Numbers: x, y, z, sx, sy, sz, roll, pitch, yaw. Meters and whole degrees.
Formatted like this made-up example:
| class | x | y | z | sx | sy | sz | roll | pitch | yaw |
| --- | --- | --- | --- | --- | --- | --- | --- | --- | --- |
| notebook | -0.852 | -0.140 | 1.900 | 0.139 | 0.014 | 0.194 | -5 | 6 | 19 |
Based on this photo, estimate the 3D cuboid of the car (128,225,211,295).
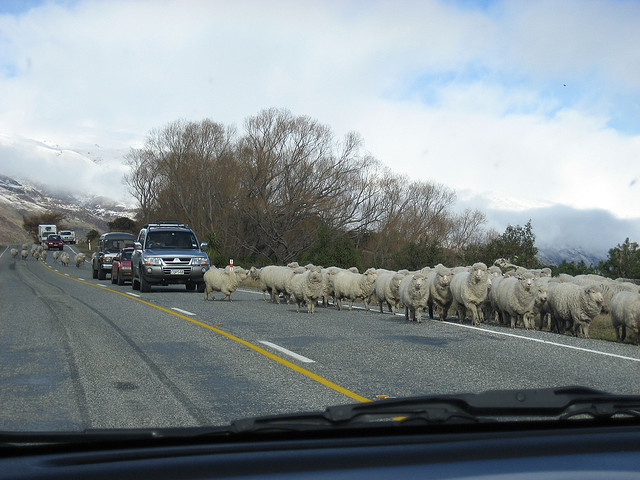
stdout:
| class | x | y | z | sx | sy | sz | roll | pitch | yaw |
| --- | --- | --- | --- | --- | --- | --- | --- | --- | --- |
| car | -5.307 | 0.552 | 22.073 | 1.769 | 1.568 | 3.301 | 1 | -4 | -18 |

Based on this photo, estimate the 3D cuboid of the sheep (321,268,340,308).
| class | x | y | z | sx | sy | sz | roll | pitch | yaw |
| --- | --- | --- | --- | --- | --- | --- | --- | --- | --- |
| sheep | 0.384 | 1.436 | 18.302 | 0.481 | 0.916 | 1.184 | 2 | -8 | 17 |

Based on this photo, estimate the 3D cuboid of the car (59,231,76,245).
| class | x | y | z | sx | sy | sz | roll | pitch | yaw |
| --- | --- | --- | --- | --- | --- | --- | --- | --- | --- |
| car | -34.302 | -0.533 | 85.708 | 1.741 | 1.740 | 3.161 | -1 | -6 | -11 |

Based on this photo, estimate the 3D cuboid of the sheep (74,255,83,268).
| class | x | y | z | sx | sy | sz | roll | pitch | yaw |
| --- | --- | --- | --- | --- | --- | --- | --- | --- | --- |
| sheep | -19.431 | 1.733 | 51.017 | 0.486 | 0.847 | 1.183 | 1 | -25 | -27 |

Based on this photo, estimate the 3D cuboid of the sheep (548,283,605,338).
| class | x | y | z | sx | sy | sz | roll | pitch | yaw |
| --- | --- | --- | --- | --- | --- | --- | --- | --- | --- |
| sheep | 5.656 | 1.510 | 14.160 | 0.626 | 1.243 | 1.840 | -7 | 6 | -16 |

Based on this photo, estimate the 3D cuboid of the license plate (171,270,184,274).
| class | x | y | z | sx | sy | sz | roll | pitch | yaw |
| --- | --- | --- | --- | --- | --- | --- | --- | --- | --- |
| license plate | -4.637 | 1.039 | 20.605 | 0.400 | 0.142 | 0.082 | 4 | -3 | -15 |

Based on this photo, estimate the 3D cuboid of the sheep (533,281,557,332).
| class | x | y | z | sx | sy | sz | roll | pitch | yaw |
| --- | --- | --- | --- | --- | --- | --- | --- | --- | --- |
| sheep | 5.270 | 1.453 | 15.338 | 0.381 | 0.957 | 1.650 | 5 | 7 | 11 |

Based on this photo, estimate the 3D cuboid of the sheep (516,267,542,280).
| class | x | y | z | sx | sy | sz | roll | pitch | yaw |
| --- | --- | --- | --- | --- | --- | --- | --- | --- | --- |
| sheep | 5.489 | 0.893 | 16.764 | 0.620 | 0.322 | 0.867 | 5 | -3 | 4 |

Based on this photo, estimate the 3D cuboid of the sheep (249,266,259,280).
| class | x | y | z | sx | sy | sz | roll | pitch | yaw |
| --- | --- | --- | --- | --- | --- | --- | --- | --- | --- |
| sheep | -2.098 | 1.068 | 20.082 | 0.297 | 0.383 | 0.708 | 3 | -2 | -6 |

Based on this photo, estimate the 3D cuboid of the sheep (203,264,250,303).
| class | x | y | z | sx | sy | sz | roll | pitch | yaw |
| --- | --- | --- | --- | --- | --- | --- | --- | --- | --- |
| sheep | -2.848 | 1.303 | 18.892 | 1.474 | 1.195 | 0.547 | 7 | 7 | 15 |

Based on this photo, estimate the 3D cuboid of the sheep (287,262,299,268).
| class | x | y | z | sx | sy | sz | roll | pitch | yaw |
| --- | --- | --- | --- | --- | --- | --- | --- | --- | --- |
| sheep | -0.841 | 0.786 | 19.736 | 0.265 | 0.146 | 0.161 | -9 | -9 | 27 |

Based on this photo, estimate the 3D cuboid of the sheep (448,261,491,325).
| class | x | y | z | sx | sy | sz | roll | pitch | yaw |
| --- | --- | --- | --- | --- | --- | --- | --- | --- | --- |
| sheep | 3.578 | 1.266 | 15.236 | 0.843 | 1.441 | 1.839 | 3 | -2 | 7 |

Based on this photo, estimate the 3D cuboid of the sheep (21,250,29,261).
| class | x | y | z | sx | sy | sz | roll | pitch | yaw |
| --- | --- | --- | --- | --- | --- | --- | --- | --- | --- |
| sheep | -29.159 | 1.515 | 62.599 | 0.729 | 1.154 | 1.505 | 1 | -2 | -28 |

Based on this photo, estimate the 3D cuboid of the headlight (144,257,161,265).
| class | x | y | z | sx | sy | sz | roll | pitch | yaw |
| --- | --- | --- | --- | --- | --- | --- | --- | --- | --- |
| headlight | -5.479 | 0.683 | 20.691 | 0.615 | 0.247 | 0.155 | 2 | -2 | 25 |

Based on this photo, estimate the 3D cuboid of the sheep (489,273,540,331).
| class | x | y | z | sx | sy | sz | roll | pitch | yaw |
| --- | --- | --- | --- | --- | --- | --- | --- | --- | --- |
| sheep | 4.550 | 1.374 | 14.854 | 0.621 | 1.292 | 1.831 | 1 | -1 | -8 |

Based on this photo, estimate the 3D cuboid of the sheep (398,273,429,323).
| class | x | y | z | sx | sy | sz | roll | pitch | yaw |
| --- | --- | --- | --- | --- | --- | --- | --- | --- | --- |
| sheep | 2.284 | 1.398 | 15.432 | 0.605 | 1.158 | 1.546 | 3 | -4 | 0 |

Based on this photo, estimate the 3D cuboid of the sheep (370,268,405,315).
| class | x | y | z | sx | sy | sz | roll | pitch | yaw |
| --- | --- | --- | --- | --- | --- | --- | --- | --- | --- |
| sheep | 1.895 | 1.449 | 17.086 | 0.623 | 1.076 | 1.408 | -2 | -9 | -21 |

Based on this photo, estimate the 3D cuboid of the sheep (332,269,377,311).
| class | x | y | z | sx | sy | sz | roll | pitch | yaw |
| --- | --- | --- | --- | --- | --- | --- | --- | --- | --- |
| sheep | 0.956 | 1.367 | 17.566 | 0.664 | 1.155 | 1.580 | 2 | -1 | -45 |

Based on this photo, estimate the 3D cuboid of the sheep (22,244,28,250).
| class | x | y | z | sx | sy | sz | roll | pitch | yaw |
| --- | --- | --- | --- | --- | --- | --- | --- | --- | --- |
| sheep | -31.918 | 0.737 | 68.509 | 0.719 | 0.625 | 0.814 | 0 | -5 | -18 |

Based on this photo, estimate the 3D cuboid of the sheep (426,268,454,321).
| class | x | y | z | sx | sy | sz | roll | pitch | yaw |
| --- | --- | --- | --- | --- | --- | --- | --- | --- | --- |
| sheep | 3.114 | 1.435 | 16.178 | 0.672 | 1.275 | 1.671 | 3 | -8 | 6 |

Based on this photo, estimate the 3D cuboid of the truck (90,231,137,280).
| class | x | y | z | sx | sy | sz | roll | pitch | yaw |
| --- | --- | --- | --- | --- | --- | --- | --- | --- | --- |
| truck | -10.860 | 0.612 | 32.246 | 2.450 | 2.627 | 4.786 | 0 | -1 | -16 |

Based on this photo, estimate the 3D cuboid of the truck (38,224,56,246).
| class | x | y | z | sx | sy | sz | roll | pitch | yaw |
| --- | --- | --- | --- | --- | --- | --- | --- | --- | --- |
| truck | -35.727 | -0.887 | 82.888 | 1.800 | 2.109 | 3.652 | 0 | 1 | -20 |

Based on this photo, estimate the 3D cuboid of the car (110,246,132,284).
| class | x | y | z | sx | sy | sz | roll | pitch | yaw |
| --- | --- | --- | --- | --- | --- | --- | --- | --- | --- |
| car | -8.315 | 1.060 | 26.469 | 0.938 | 0.977 | 2.031 | 1 | -2 | -17 |

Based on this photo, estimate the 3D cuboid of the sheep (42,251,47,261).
| class | x | y | z | sx | sy | sz | roll | pitch | yaw |
| --- | --- | --- | --- | --- | --- | --- | --- | --- | --- |
| sheep | -28.809 | 1.667 | 66.174 | 0.515 | 0.576 | 0.213 | 12 | -1 | 42 |

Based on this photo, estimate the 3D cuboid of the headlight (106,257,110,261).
| class | x | y | z | sx | sy | sz | roll | pitch | yaw |
| --- | --- | --- | --- | --- | --- | --- | --- | --- | --- |
| headlight | -10.171 | 0.903 | 30.449 | 0.187 | 0.205 | 0.107 | 0 | 6 | -6 |

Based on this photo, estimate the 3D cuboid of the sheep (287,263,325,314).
| class | x | y | z | sx | sy | sz | roll | pitch | yaw |
| --- | --- | --- | --- | --- | --- | --- | --- | --- | --- |
| sheep | -0.141 | 1.213 | 16.765 | 0.604 | 1.194 | 1.556 | 3 | -12 | -23 |

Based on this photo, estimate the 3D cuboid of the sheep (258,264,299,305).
| class | x | y | z | sx | sy | sz | roll | pitch | yaw |
| --- | --- | --- | --- | --- | --- | --- | --- | --- | --- |
| sheep | -1.219 | 1.367 | 19.019 | 0.677 | 1.080 | 1.767 | 8 | -3 | -42 |
